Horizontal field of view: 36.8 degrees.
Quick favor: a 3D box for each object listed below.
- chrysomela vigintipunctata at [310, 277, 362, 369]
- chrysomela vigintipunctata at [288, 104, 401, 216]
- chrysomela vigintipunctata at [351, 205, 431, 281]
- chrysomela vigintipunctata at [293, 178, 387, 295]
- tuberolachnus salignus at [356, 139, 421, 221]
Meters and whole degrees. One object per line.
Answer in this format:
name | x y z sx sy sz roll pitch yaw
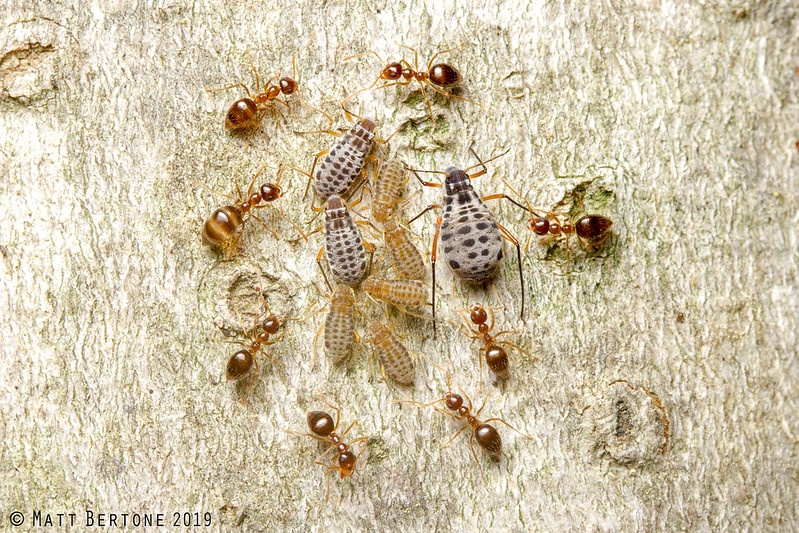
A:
chrysomela vigintipunctata | -0.457 0.457 9.314 0.362 0.164 0.588 5 85 -2
chrysomela vigintipunctata | -0.432 -0.867 9.570 0.708 0.225 0.757 36 93 -2
chrysomela vigintipunctata | -0.043 -0.167 9.545 0.359 0.159 0.571 -25 89 0
chrysomela vigintipunctata | -0.432 -0.249 9.411 0.557 0.223 0.740 -9 83 -4
tuberolachnus salignus | -0.065 -0.648 9.491 0.380 0.148 0.568 20 103 -1
